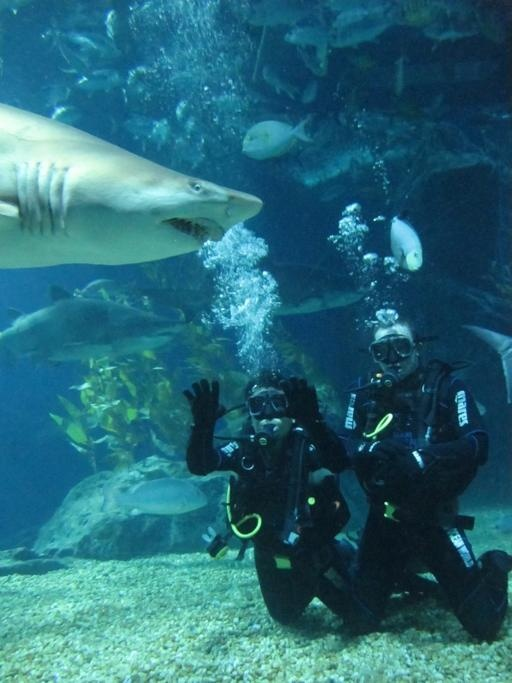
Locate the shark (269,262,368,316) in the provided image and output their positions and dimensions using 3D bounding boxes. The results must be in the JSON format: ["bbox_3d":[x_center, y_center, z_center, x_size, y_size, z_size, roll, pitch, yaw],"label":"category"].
[{"bbox_3d":[1.212,-1.061,14.138,1.999,0.794,1.348,-2,5,8],"label":"shark"}]

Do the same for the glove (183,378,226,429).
[{"bbox_3d":[-0.444,0.531,6.119,0.339,0.418,0.394,-3,-2,-4],"label":"glove"}]

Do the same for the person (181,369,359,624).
[{"bbox_3d":[0.261,1.359,6.306,1.510,2.359,1.160,-6,12,-35],"label":"person"}]
